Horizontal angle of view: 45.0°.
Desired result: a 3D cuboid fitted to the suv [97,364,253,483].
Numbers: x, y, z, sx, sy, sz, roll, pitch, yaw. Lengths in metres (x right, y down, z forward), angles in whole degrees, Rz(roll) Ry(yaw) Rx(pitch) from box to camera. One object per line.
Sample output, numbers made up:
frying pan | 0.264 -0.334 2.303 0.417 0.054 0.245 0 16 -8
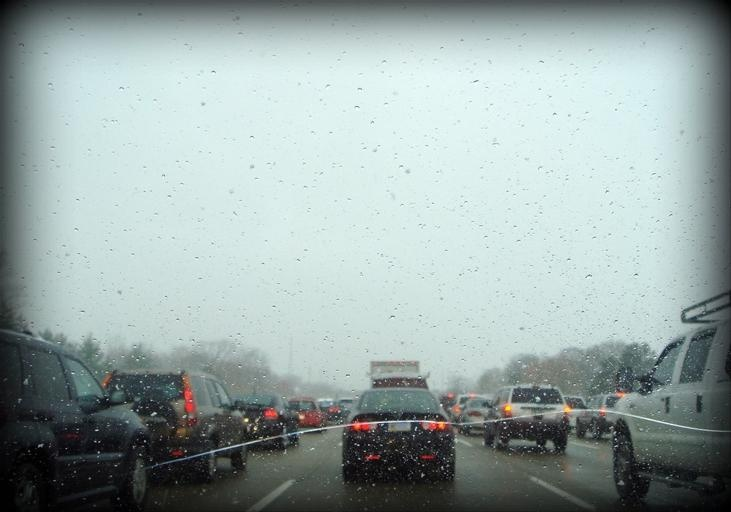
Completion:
suv | -3.557 3.199 17.524 1.521 1.505 3.262 -1 -6 2

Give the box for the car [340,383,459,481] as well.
car | 0.648 3.597 18.178 1.542 1.276 3.677 0 -8 2
